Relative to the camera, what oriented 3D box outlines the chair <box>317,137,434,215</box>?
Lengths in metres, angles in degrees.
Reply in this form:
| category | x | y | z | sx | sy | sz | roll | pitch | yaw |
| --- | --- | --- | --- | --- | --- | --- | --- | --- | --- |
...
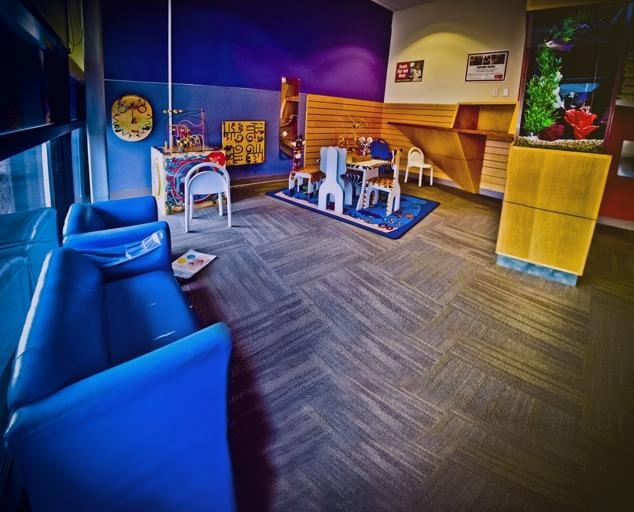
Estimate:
| category | x | y | z | sx | sy | sz | roll | pitch | yaw |
| --- | --- | --- | --- | --- | --- | --- | --- | --- | --- |
| chair | 0.680 | -1.007 | 5.226 | 1.007 | 0.734 | 1.036 | -23 | 39 | -34 |

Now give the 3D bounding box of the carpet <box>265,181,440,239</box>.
| category | x | y | z | sx | sy | sz | roll | pitch | yaw |
| --- | --- | --- | --- | --- | --- | --- | --- | --- | --- |
| carpet | 0.662 | -0.765 | 5.607 | 2.080 | 0.109 | 1.792 | 19 | 29 | 37 |

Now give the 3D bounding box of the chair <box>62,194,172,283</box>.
| category | x | y | z | sx | sy | sz | roll | pitch | yaw |
| --- | --- | --- | --- | --- | --- | --- | --- | --- | --- |
| chair | -1.379 | 0.026 | 2.782 | 0.603 | 0.605 | 0.670 | -6 | 33 | -29 |

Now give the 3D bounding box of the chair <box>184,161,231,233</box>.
| category | x | y | z | sx | sy | sz | roll | pitch | yaw |
| --- | --- | --- | --- | --- | --- | --- | --- | --- | --- |
| chair | -1.272 | -0.673 | 4.490 | 0.572 | 0.931 | 0.585 | -5 | 39 | -18 |

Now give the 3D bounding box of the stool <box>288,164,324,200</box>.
| category | x | y | z | sx | sy | sz | roll | pitch | yaw |
| --- | --- | --- | --- | --- | --- | --- | --- | --- | --- |
| stool | -0.212 | -1.166 | 5.918 | 0.518 | 0.460 | 0.536 | 18 | 28 | 32 |

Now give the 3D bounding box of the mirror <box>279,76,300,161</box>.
| category | x | y | z | sx | sy | sz | roll | pitch | yaw |
| --- | --- | --- | --- | --- | --- | --- | --- | --- | --- |
| mirror | -0.475 | -2.314 | 6.379 | 0.258 | 1.234 | 0.133 | 3 | 42 | -7 |
